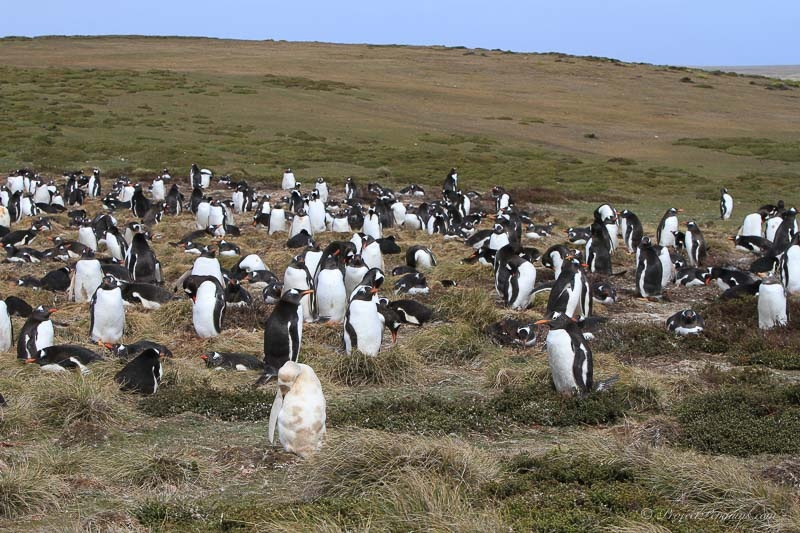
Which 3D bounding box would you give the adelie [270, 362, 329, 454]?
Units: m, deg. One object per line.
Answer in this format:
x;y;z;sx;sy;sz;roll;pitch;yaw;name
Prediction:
-1.397;2.069;11.963;0.904;1.172;0.714;2;-13;-29;adelie
